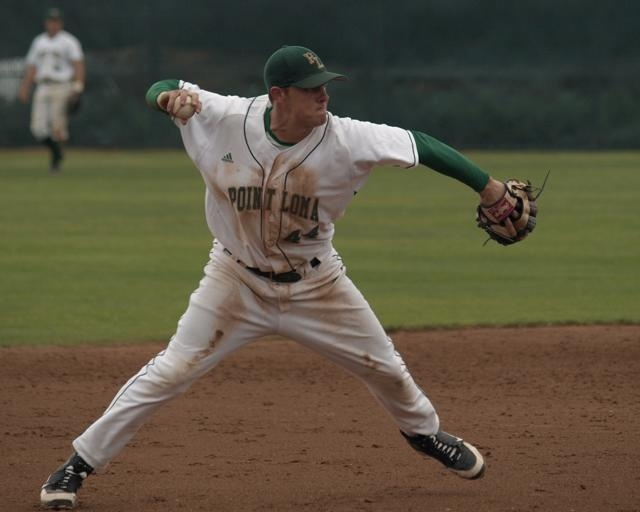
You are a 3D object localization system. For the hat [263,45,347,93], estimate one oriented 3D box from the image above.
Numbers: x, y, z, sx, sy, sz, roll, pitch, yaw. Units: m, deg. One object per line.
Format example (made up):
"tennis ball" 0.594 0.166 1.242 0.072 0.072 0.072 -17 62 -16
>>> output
"hat" -0.133 -1.599 10.210 0.572 0.296 0.369 -6 15 18

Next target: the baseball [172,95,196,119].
"baseball" -1.150 -1.265 10.040 0.163 0.210 0.110 -3 26 -21
